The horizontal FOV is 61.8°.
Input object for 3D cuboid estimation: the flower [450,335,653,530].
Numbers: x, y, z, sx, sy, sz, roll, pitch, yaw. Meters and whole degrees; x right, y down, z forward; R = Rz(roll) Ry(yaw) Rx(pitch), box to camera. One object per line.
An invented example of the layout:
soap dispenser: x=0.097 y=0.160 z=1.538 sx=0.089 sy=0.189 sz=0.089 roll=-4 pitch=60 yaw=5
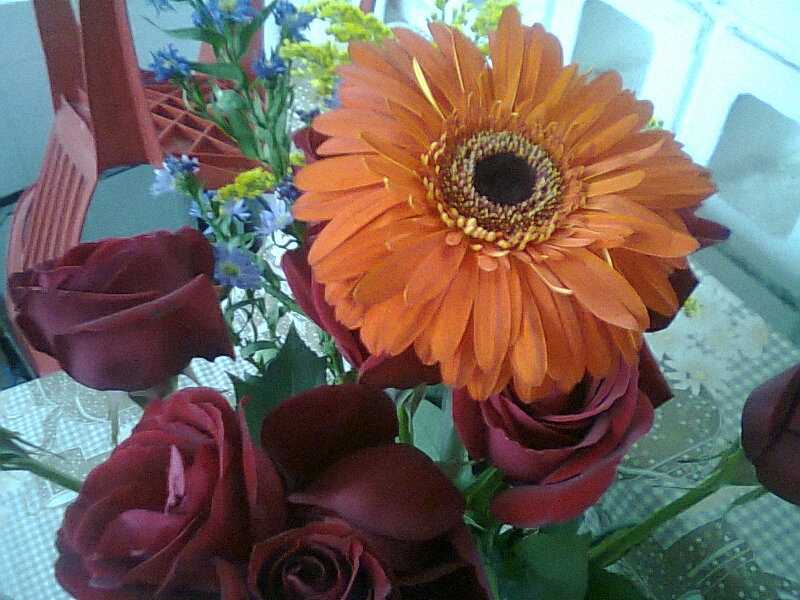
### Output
flower: x=0.095 y=0.075 z=0.417 sx=0.129 sy=0.065 sz=0.127 roll=-4 pitch=16 yaw=-21

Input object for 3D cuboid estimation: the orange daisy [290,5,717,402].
orange daisy: x=0.067 y=-0.068 z=0.424 sx=0.260 sy=0.187 sz=0.194 roll=14 pitch=30 yaw=-9

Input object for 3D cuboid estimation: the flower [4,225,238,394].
flower: x=-0.177 y=0.009 z=0.443 sx=0.105 sy=0.062 sz=0.109 roll=-4 pitch=41 yaw=-8
